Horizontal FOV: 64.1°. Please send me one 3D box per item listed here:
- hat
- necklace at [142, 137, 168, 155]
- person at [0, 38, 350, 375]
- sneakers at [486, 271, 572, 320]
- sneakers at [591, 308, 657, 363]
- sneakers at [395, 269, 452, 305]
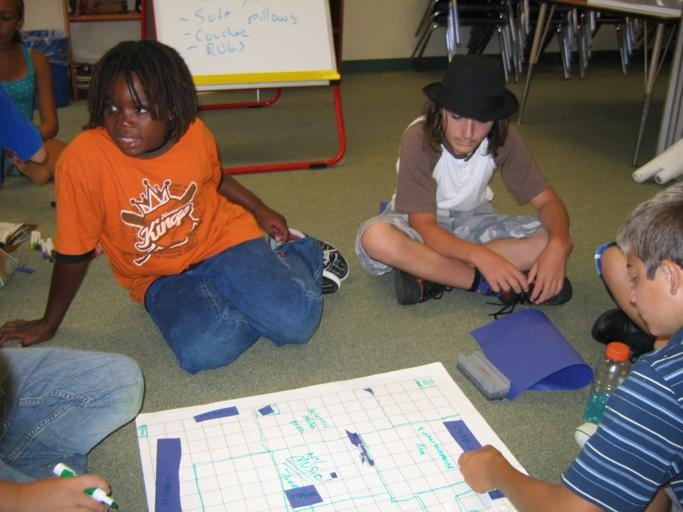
[{"bbox_3d":[0.411,-0.521,1.731,0.301,0.200,0.251,5,33,8],"label":"hat"},{"bbox_3d":[-0.525,-0.307,1.557,0.043,0.058,0.025,-6,67,-43],"label":"necklace"},{"bbox_3d":[-0.483,-0.123,1.567,0.956,0.873,0.558,-18,37,-25],"label":"person"},{"bbox_3d":[0.605,0.122,1.930,0.373,0.150,0.115,-7,62,4],"label":"sneakers"},{"bbox_3d":[0.891,0.252,1.728,0.209,0.113,0.080,30,3,24],"label":"sneakers"},{"bbox_3d":[0.317,0.113,1.943,0.231,0.077,0.095,-6,35,-29],"label":"sneakers"}]
